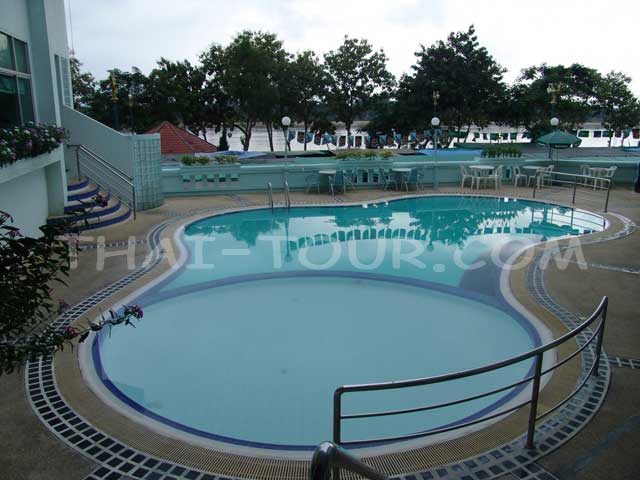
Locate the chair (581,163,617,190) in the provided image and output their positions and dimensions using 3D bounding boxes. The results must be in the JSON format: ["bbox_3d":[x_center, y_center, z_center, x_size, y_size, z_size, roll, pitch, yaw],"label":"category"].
[{"bbox_3d":[11.682,-2.664,17.934,1.412,0.910,1.376,-22,26,-38],"label":"chair"}]

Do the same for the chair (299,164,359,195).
[{"bbox_3d":[0.458,-2.459,17.471,2.059,0.998,1.578,0,14,1],"label":"chair"}]

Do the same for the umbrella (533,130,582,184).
[{"bbox_3d":[10.108,-3.786,18.285,1.891,1.449,1.746,-26,36,-21],"label":"umbrella"}]

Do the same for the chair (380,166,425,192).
[{"bbox_3d":[3.408,-2.567,18.118,0.938,0.995,1.537,-6,25,-12],"label":"chair"}]
